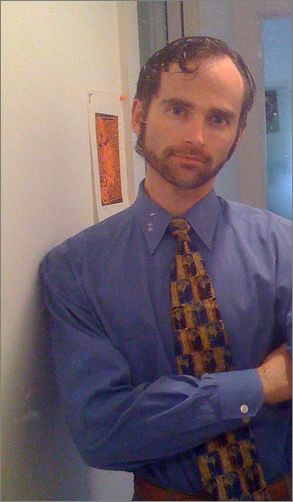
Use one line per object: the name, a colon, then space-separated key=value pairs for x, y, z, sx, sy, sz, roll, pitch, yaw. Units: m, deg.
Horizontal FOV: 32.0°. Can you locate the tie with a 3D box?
tie: x=0.112 y=0.204 z=0.976 sx=0.130 sy=0.528 sz=0.202 roll=-9 pitch=10 yaw=-19

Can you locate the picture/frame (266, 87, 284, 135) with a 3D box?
picture/frame: x=0.258 y=-0.287 z=1.050 sx=0.040 sy=0.087 sz=0.008 roll=-3 pitch=11 yaw=-16
